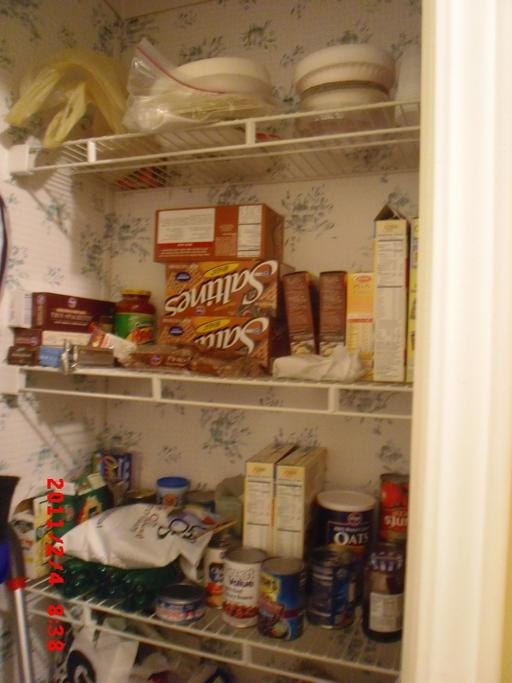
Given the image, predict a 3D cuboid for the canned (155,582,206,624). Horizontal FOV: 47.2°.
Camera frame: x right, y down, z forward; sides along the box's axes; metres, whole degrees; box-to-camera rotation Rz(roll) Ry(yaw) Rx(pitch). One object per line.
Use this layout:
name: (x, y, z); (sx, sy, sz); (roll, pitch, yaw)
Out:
canned: (-0.133, 0.463, 1.041); (0.082, 0.054, 0.085); (1, 0, -32)

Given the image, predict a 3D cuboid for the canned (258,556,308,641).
canned: (0.042, 0.424, 0.965); (0.076, 0.102, 0.071); (2, -5, 20)

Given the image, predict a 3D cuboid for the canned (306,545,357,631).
canned: (0.119, 0.408, 0.963); (0.079, 0.094, 0.082); (1, 0, 26)

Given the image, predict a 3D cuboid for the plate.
plate: (0.040, -0.388, 0.967); (0.305, 0.064, 0.177); (-1, 4, 1)

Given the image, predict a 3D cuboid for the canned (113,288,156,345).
canned: (-0.269, -0.048, 1.306); (0.088, 0.123, 0.084); (4, 1, 27)

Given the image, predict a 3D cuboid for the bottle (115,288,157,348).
bottle: (-0.272, -0.048, 1.307); (0.085, 0.124, 0.088); (4, 0, 0)

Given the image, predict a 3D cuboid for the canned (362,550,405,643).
canned: (0.197, 0.403, 0.914); (0.060, 0.101, 0.038); (1, 0, 9)
